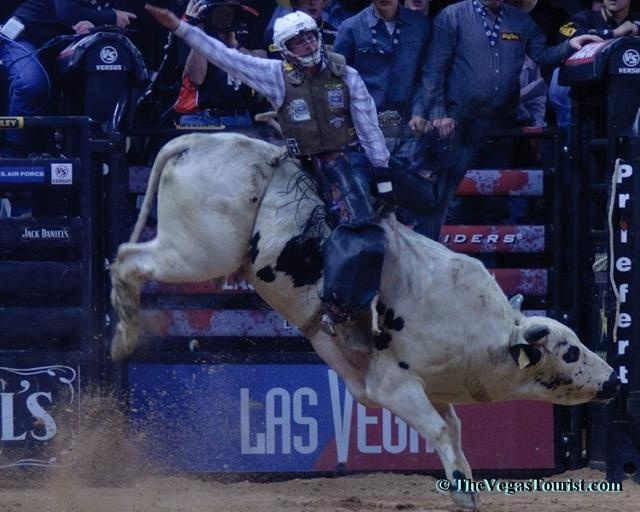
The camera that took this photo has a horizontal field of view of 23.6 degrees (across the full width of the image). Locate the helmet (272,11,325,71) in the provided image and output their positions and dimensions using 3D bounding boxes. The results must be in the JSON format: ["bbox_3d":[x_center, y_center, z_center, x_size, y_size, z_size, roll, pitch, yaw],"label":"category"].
[{"bbox_3d":[-0.142,-1.655,11.872,0.370,0.358,0.405,-17,-8,-21],"label":"helmet"}]

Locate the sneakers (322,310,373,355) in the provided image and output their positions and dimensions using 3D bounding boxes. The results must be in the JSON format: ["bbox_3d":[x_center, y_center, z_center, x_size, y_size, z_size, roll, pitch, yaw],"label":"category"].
[{"bbox_3d":[0.247,0.588,12.030,0.304,0.150,0.395,12,-40,-2],"label":"sneakers"}]
